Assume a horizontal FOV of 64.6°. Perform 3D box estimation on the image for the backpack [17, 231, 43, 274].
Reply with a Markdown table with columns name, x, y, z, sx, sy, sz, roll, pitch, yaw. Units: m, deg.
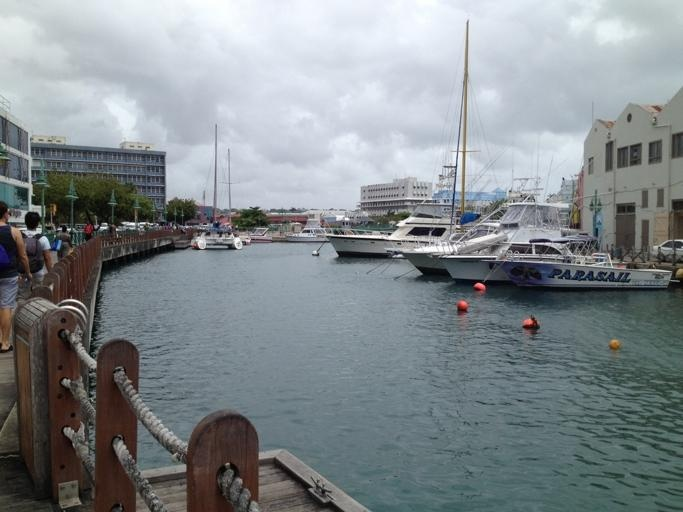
| name | x | y | z | sx | sy | sz | roll | pitch | yaw |
| --- | --- | --- | --- | --- | --- | --- | --- | --- | --- |
| backpack | -6.655 | -0.087 | 11.719 | 0.510 | 0.825 | 0.444 | 6 | 13 | 12 |
